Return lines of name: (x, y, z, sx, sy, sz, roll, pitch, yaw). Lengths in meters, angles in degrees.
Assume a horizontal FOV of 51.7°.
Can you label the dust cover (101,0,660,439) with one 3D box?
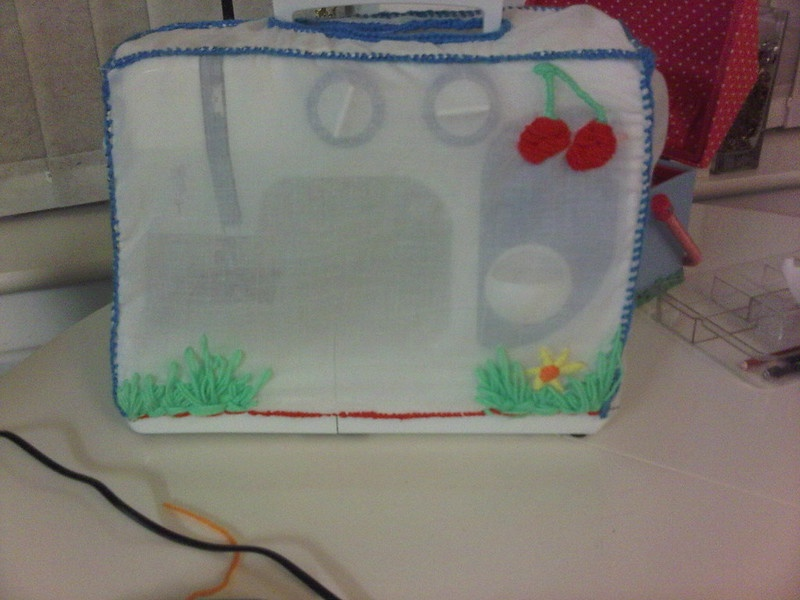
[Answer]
dust cover: (-0.026, -0.052, 1.031, 0.616, 0.431, 0.472, -1, -70, -1)
